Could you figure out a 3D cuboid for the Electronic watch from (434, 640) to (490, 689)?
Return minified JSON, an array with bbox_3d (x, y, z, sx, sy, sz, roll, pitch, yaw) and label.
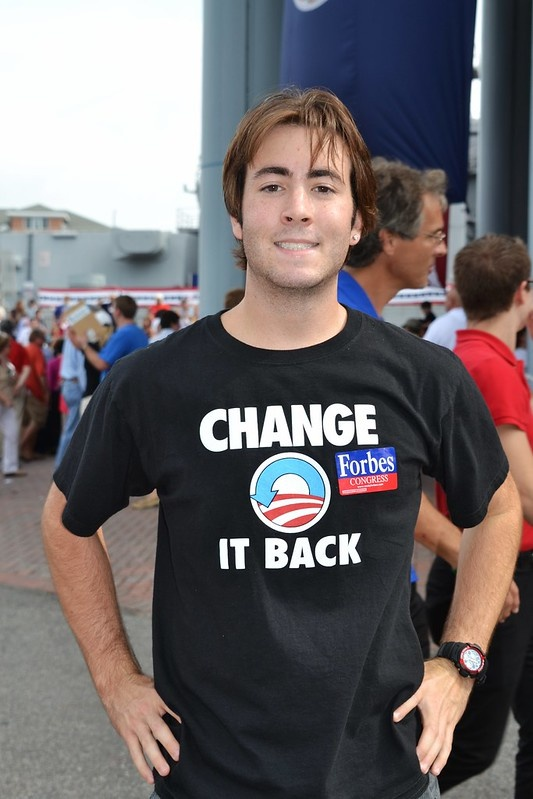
[{"bbox_3d":[0.370,0.481,1.383,0.091,0.093,0.059,1,50,39],"label":"Electronic watch"}]
